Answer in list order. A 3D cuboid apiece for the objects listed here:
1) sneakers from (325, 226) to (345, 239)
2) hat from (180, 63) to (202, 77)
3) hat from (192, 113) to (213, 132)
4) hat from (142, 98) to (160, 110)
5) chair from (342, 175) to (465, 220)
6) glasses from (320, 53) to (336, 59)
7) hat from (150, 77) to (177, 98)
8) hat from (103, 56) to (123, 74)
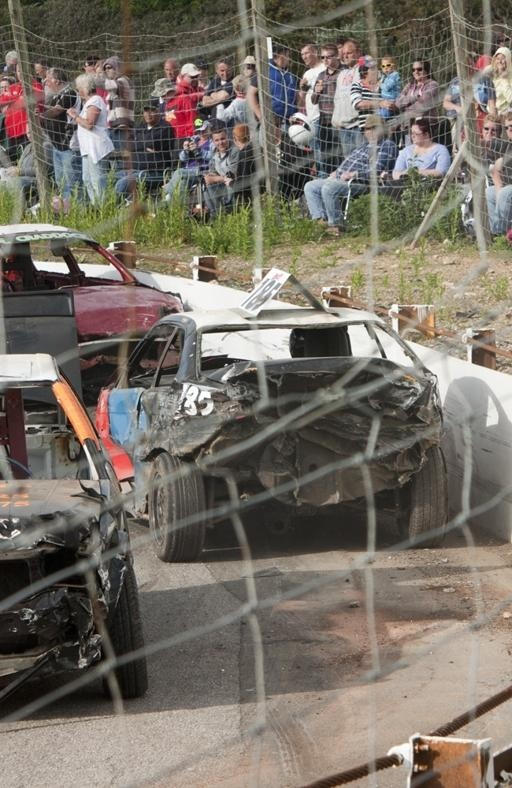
[{"bbox_3d":[1.150,-2.367,12.188,0.164,0.197,0.085,4,36,12],"label":"sneakers"},{"bbox_3d":[-0.980,-4.802,12.497,0.307,0.165,0.212,2,8,39],"label":"hat"},{"bbox_3d":[-0.785,-3.985,12.318,0.238,0.288,0.087,4,-8,16],"label":"hat"},{"bbox_3d":[-1.541,-4.263,12.440,0.181,0.126,0.252,-1,-13,4],"label":"hat"},{"bbox_3d":[2.040,-2.602,11.121,0.930,0.337,0.623,-4,-3,19],"label":"chair"},{"bbox_3d":[0.959,-4.442,11.095,0.185,0.083,0.038,3,8,32],"label":"glasses"},{"bbox_3d":[-1.370,-4.494,12.459,0.295,0.139,0.330,-29,4,-15],"label":"hat"},{"bbox_3d":[-2.041,-4.652,11.930,0.263,0.224,0.637,-2,6,-9],"label":"hat"}]
